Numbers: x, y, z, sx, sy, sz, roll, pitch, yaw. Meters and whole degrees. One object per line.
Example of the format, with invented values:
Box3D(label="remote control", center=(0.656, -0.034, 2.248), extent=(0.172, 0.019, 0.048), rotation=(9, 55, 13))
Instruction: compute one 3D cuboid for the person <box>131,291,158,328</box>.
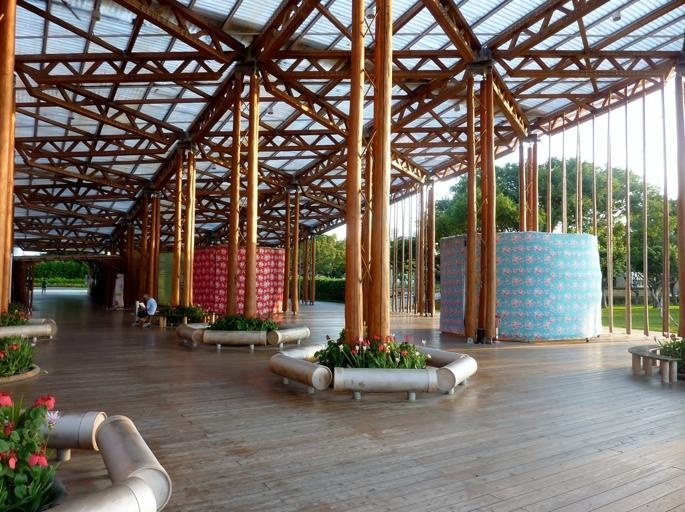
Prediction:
Box3D(label="person", center=(-8.062, 2.196, 19.486), extent=(0.793, 1.257, 2.000), rotation=(1, -5, -27))

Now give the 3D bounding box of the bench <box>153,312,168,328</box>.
Box3D(label="bench", center=(-7.207, 2.389, 18.949), extent=(0.546, 0.588, 0.966), rotation=(3, -4, -24))
